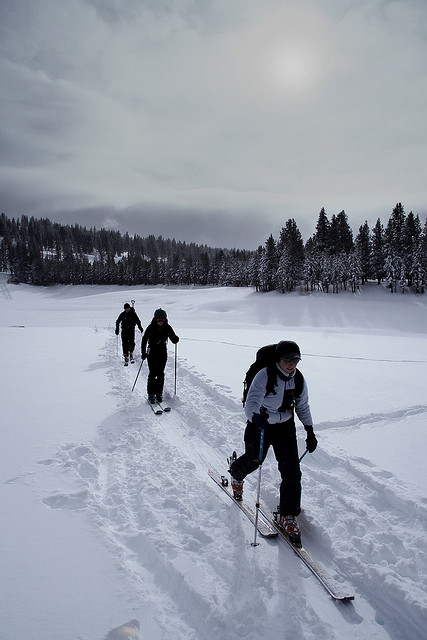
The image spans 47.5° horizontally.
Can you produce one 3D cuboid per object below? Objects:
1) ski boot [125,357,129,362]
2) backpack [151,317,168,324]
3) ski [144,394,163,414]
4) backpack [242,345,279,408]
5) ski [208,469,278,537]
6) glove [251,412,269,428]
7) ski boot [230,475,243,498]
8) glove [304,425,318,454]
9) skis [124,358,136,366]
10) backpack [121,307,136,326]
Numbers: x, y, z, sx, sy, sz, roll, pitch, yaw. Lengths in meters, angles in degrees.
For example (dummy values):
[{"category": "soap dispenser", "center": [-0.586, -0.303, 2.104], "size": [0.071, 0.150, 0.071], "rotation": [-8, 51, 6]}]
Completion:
[{"category": "ski boot", "center": [-2.709, 1.215, 15.018], "size": [0.102, 0.176, 0.089], "rotation": [3, 9, 24]}, {"category": "backpack", "center": [-1.205, 0.021, 10.971], "size": [0.340, 0.173, 0.426], "rotation": [1, 10, -9]}, {"category": "ski", "center": [-1.277, 1.799, 10.377], "size": [0.158, 0.110, 1.258], "rotation": [2, 14, -17]}, {"category": "backpack", "center": [0.603, 0.692, 6.104], "size": [0.384, 0.818, 0.592], "rotation": [1, 10, -6]}, {"category": "ski", "center": [0.307, 2.316, 6.668], "size": [0.264, 0.153, 2.603], "rotation": [1, 5, -17]}, {"category": "glove", "center": [0.550, 1.154, 5.606], "size": [0.174, 0.134, 0.197], "rotation": [3, 10, 2]}, {"category": "ski boot", "center": [0.328, 2.248, 6.531], "size": [0.089, 0.141, 0.294], "rotation": [4, 12, -17]}, {"category": "glove", "center": [1.260, 1.461, 6.191], "size": [0.125, 0.125, 0.448], "rotation": [-15, 33, 13]}, {"category": "skis", "center": [-2.609, 1.295, 15.059], "size": [0.311, 0.204, 0.103], "rotation": [-18, 23, -39]}, {"category": "backpack", "center": [-2.643, -0.134, 15.307], "size": [0.469, 0.605, 0.394], "rotation": [-7, 13, -44]}]
